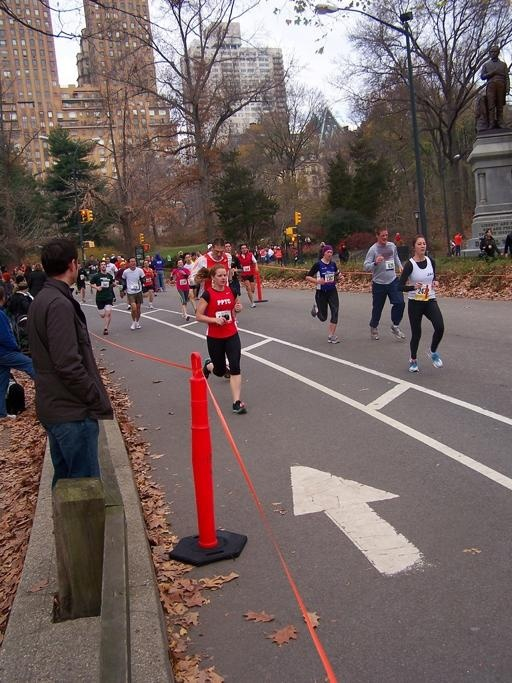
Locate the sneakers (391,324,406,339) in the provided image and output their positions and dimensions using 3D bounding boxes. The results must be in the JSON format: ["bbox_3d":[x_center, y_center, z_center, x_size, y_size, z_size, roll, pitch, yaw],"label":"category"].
[{"bbox_3d":[2.935,-0.164,11.807,0.179,0.173,0.377,-8,28,-29],"label":"sneakers"}]

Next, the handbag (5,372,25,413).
[{"bbox_3d":[-3.549,0.828,8.324,0.254,0.560,0.367,-8,7,-25],"label":"handbag"}]

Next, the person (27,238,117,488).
[{"bbox_3d":[-1.099,0.138,3.328,0.428,1.472,0.433,-6,6,-13],"label":"person"}]

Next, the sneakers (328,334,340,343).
[{"bbox_3d":[1.590,-0.021,11.850,0.105,0.146,0.292,-3,-1,-22],"label":"sneakers"}]

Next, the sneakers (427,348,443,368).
[{"bbox_3d":[2.810,0.273,8.851,0.151,0.170,0.348,-3,14,0],"label":"sneakers"}]

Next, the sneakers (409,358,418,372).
[{"bbox_3d":[2.419,0.384,8.738,0.152,0.177,0.332,-3,6,15],"label":"sneakers"}]

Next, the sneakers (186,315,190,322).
[{"bbox_3d":[-2.207,-0.698,18.382,0.106,0.196,0.181,1,0,-12],"label":"sneakers"}]

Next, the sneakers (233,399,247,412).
[{"bbox_3d":[-0.213,0.845,7.135,0.093,0.103,0.210,-1,-4,-14],"label":"sneakers"}]
